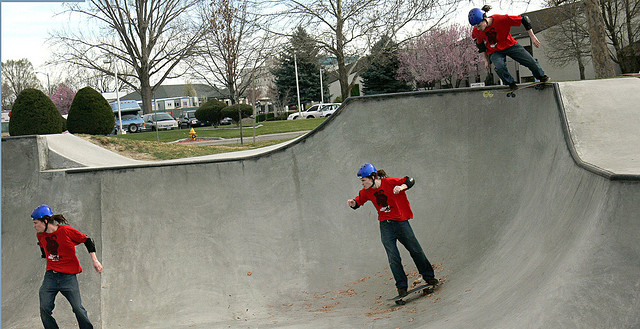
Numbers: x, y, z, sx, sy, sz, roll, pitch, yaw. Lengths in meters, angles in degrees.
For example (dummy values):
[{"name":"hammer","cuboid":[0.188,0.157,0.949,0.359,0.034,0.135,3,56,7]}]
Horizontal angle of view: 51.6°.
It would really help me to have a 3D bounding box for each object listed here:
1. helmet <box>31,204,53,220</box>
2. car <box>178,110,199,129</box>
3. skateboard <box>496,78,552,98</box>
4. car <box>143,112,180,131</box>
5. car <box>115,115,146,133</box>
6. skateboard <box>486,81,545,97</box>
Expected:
[{"name":"helmet","cuboid":[-9.047,1.535,21.274,0.665,0.529,0.463,-17,9,-16]},{"name":"car","cuboid":[-10.596,-3.598,53.119,1.264,0.957,1.807,-6,4,-37]},{"name":"skateboard","cuboid":[6.862,-2.502,22.201,1.724,0.395,0.260,-11,0,24]},{"name":"car","cuboid":[-11.954,-3.169,49.443,2.366,0.996,1.872,-5,3,-15]},{"name":"car","cuboid":[-13.844,-2.895,48.446,1.942,0.861,1.165,0,10,-12]},{"name":"skateboard","cuboid":[6.733,-2.503,22.267,1.527,0.467,0.271,1,34,27]}]
